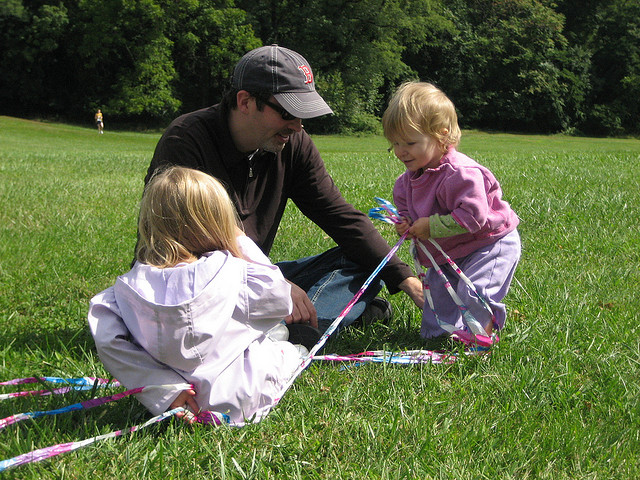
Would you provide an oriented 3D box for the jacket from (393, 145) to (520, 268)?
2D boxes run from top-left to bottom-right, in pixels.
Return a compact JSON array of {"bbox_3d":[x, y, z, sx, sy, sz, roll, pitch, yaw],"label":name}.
[{"bbox_3d":[0.951,-0.256,4.518,0.802,0.876,0.881,-10,8,-21],"label":"jacket"}]

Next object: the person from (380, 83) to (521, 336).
[{"bbox_3d":[0.890,-0.177,4.362,0.964,1.765,0.513,7,8,23],"label":"person"}]

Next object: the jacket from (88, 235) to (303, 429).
[{"bbox_3d":[-0.657,0.516,3.873,0.873,1.362,1.058,-23,6,10],"label":"jacket"}]

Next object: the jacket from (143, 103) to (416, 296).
[{"bbox_3d":[-0.407,-0.412,4.596,1.725,1.297,1.324,24,24,28],"label":"jacket"}]

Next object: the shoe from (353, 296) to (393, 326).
[{"bbox_3d":[0.403,0.534,4.648,0.365,0.194,0.107,-5,11,-44],"label":"shoe"}]
